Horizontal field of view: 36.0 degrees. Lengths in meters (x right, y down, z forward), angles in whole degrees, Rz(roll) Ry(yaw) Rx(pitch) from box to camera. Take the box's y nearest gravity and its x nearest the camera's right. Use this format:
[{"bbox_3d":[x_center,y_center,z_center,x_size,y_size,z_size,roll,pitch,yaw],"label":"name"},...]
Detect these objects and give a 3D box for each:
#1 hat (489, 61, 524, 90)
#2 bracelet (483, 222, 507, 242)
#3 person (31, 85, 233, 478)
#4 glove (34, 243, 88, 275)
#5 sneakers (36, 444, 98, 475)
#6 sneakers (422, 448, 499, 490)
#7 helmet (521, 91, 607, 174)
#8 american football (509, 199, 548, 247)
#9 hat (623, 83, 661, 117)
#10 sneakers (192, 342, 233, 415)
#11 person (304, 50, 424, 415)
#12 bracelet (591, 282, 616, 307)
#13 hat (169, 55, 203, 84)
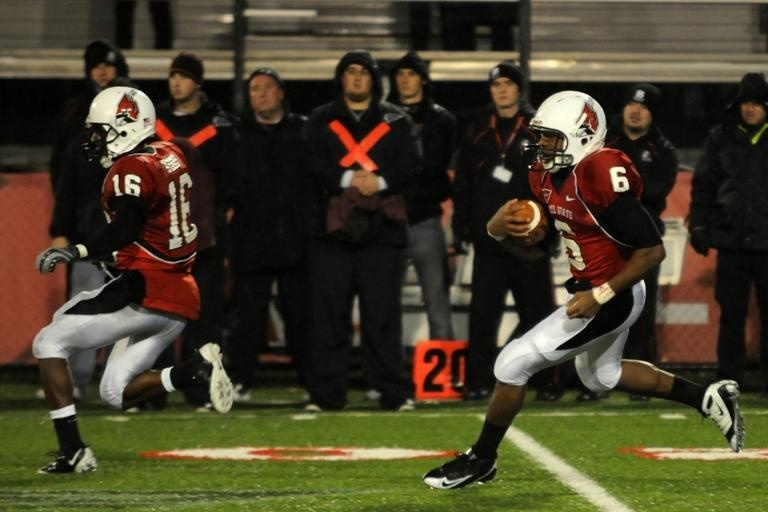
[{"bbox_3d":[1.038,-1.596,10.305,0.302,0.213,0.203,18,18,-4],"label":"hat"},{"bbox_3d":[0.787,-0.148,8.366,0.156,0.054,0.124,8,26,-7],"label":"bracelet"},{"bbox_3d":[-1.853,0.113,8.571,1.370,2.662,0.855,-3,9,-16],"label":"person"},{"bbox_3d":[-2.244,0.017,8.220,0.316,0.191,0.140,-25,-28,-26],"label":"glove"},{"bbox_3d":[-2.262,1.435,8.347,0.483,0.192,0.158,0,-5,-3],"label":"sneakers"},{"bbox_3d":[0.512,1.414,8.046,0.519,0.232,0.220,-6,18,-14],"label":"sneakers"},{"bbox_3d":[1.237,-0.854,8.095,0.658,0.497,0.486,-9,12,-6],"label":"helmet"},{"bbox_3d":[1.022,-0.253,8.259,0.282,0.288,0.265,-13,18,-5],"label":"american football"},{"bbox_3d":[2.277,-1.359,10.301,0.286,0.206,0.267,10,5,36],"label":"hat"},{"bbox_3d":[-1.280,0.888,8.683,0.226,0.505,0.253,-26,-5,27],"label":"sneakers"},{"bbox_3d":[-0.186,-0.209,9.965,0.924,2.969,0.453,-1,8,-1],"label":"person"},{"bbox_3d":[1.454,0.242,7.868,0.152,0.156,0.068,1,8,8],"label":"bracelet"},{"bbox_3d":[-1.693,-1.620,10.175,0.281,0.197,0.261,9,-14,0],"label":"hat"}]
